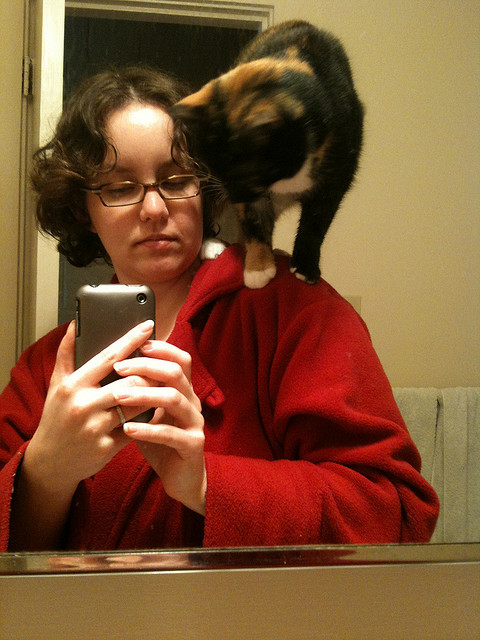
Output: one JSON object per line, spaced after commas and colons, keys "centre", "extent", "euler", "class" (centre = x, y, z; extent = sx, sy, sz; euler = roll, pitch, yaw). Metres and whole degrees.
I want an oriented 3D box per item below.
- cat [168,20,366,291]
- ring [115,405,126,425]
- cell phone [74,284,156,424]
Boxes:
{"centre": [0.067, -0.230, 0.860], "extent": [0.173, 0.298, 0.468], "euler": [2, 37, 16], "class": "cat"}
{"centre": [-0.108, 0.086, 0.594], "extent": [0.010, 0.017, 0.010], "euler": [2, 6, 0], "class": "ring"}
{"centre": [-0.099, 0.021, 0.592], "extent": [0.082, 0.014, 0.138], "euler": [-12, 52, -17], "class": "cell phone"}
